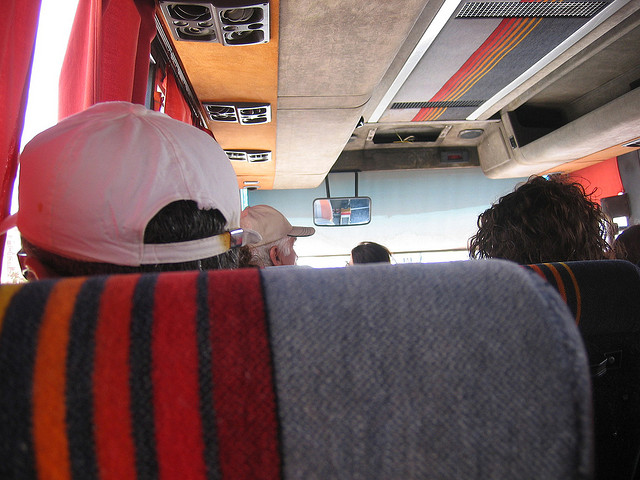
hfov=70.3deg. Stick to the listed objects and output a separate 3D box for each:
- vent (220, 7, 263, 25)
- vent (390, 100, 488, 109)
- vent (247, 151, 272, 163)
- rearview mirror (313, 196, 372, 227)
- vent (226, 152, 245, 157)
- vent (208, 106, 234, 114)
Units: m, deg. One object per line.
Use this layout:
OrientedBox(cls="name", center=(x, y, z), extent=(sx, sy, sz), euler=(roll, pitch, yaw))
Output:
OrientedBox(cls="vent", center=(-0.360, -1.000, 2.036), extent=(0.096, 0.022, 0.096), euler=(-11, -10, 15))
OrientedBox(cls="vent", center=(1.070, -1.249, 4.194), extent=(0.843, 0.037, 0.210), euler=(0, 1, 1))
OrientedBox(cls="vent", center=(-0.573, -0.773, 4.226), extent=(0.225, 0.051, 0.276), euler=(0, 1, -9))
OrientedBox(cls="rearview mirror", center=(0.253, -0.357, 5.744), extent=(0.698, 0.349, 0.291), euler=(0, 1, 0))
OrientedBox(cls="vent", center=(-0.781, -0.774, 4.126), extent=(0.169, 0.023, 0.102), euler=(0, 1, -27))
OrientedBox(cls="vent", center=(-0.675, -0.870, 3.056), extent=(0.172, 0.024, 0.097), euler=(0, 1, -20))
